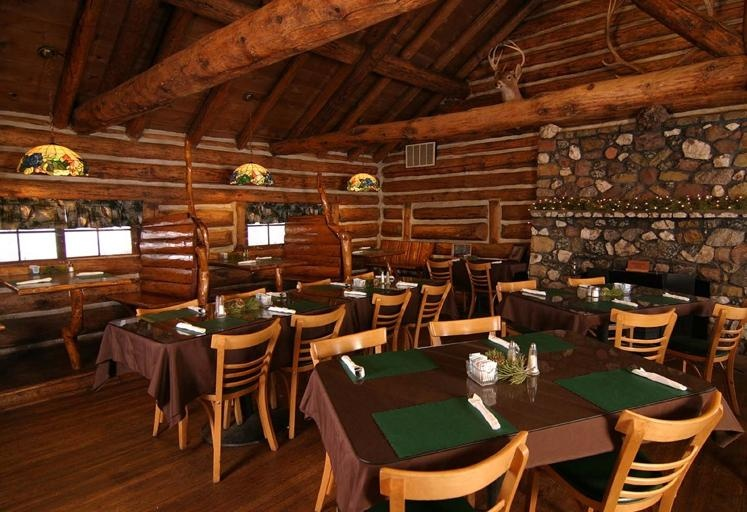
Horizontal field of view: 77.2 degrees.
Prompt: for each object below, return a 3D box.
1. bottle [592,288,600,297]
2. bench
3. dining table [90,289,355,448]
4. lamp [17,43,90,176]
[{"bbox_3d":[2.561,0.412,5.386,0.151,0.075,0.082,-2,3,-43],"label":"bottle"},{"bbox_3d":[-1.005,0.026,8.581,3.735,0.935,2.090,-4,5,-38],"label":"bench"},{"bbox_3d":[-1.408,0.811,4.888,2.089,0.569,1.380,-11,16,-43],"label":"dining table"},{"bbox_3d":[-3.759,-1.659,5.441,0.827,1.300,0.776,26,32,21],"label":"lamp"}]
